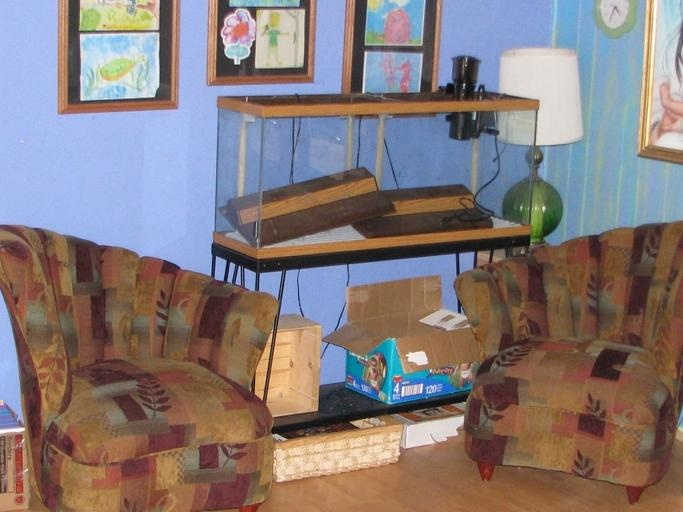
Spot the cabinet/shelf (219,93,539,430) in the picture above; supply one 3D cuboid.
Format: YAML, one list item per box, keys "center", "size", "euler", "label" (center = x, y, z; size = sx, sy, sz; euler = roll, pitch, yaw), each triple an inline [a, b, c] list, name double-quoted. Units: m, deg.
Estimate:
- center: [0.188, 0.003, 3.509]
  size: [1.521, 1.481, 0.514]
  euler: [-5, 16, -23]
  label: "cabinet/shelf"

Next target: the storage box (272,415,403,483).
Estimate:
- center: [-0.026, 0.866, 3.452]
  size: [0.447, 0.157, 0.280]
  euler: [-3, 6, -22]
  label: "storage box"

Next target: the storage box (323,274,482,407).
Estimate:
- center: [0.403, 0.428, 3.790]
  size: [0.802, 0.551, 0.484]
  euler: [-6, 11, -30]
  label: "storage box"

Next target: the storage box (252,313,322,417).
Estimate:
- center: [-0.261, 0.517, 3.425]
  size: [0.441, 0.442, 0.254]
  euler: [-2, 12, -36]
  label: "storage box"
